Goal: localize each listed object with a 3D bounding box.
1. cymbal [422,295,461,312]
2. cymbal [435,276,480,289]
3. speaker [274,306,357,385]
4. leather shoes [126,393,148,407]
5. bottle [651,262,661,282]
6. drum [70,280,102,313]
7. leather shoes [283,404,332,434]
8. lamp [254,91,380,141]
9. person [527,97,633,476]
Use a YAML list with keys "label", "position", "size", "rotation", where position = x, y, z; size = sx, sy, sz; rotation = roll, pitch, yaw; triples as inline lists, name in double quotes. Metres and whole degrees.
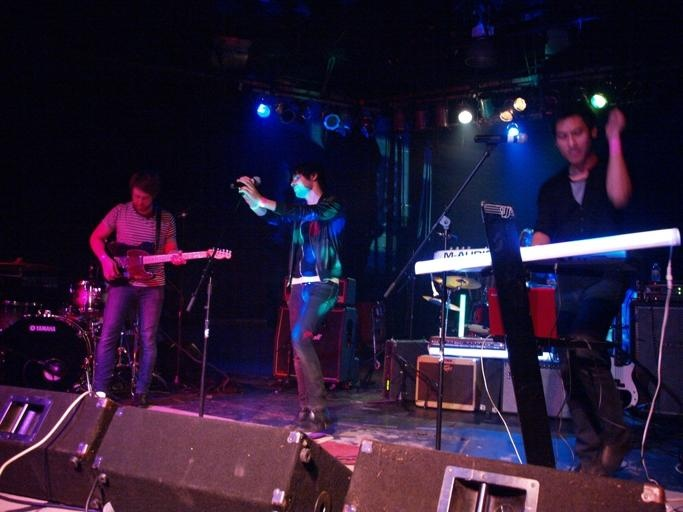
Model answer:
- label: "cymbal"
  position: [1.258, 0.600, 7.509]
  size: [0.373, 0.093, 0.393]
  rotation: [22, -8, 36]
- label: "cymbal"
  position: [1.392, 0.329, 6.903]
  size: [0.399, 0.097, 0.391]
  rotation: [20, -21, -38]
- label: "speaker"
  position: [-0.309, 1.089, 7.348]
  size: [0.820, 0.908, 0.611]
  rotation: [2, -3, 17]
- label: "leather shoes"
  position: [-1.881, 1.342, 5.537]
  size: [0.130, 0.154, 0.358]
  rotation: [9, -16, -29]
- label: "bottle"
  position: [3.436, 0.174, 6.560]
  size: [0.091, 0.200, 0.377]
  rotation: [1, -5, 28]
- label: "drum"
  position: [-2.745, 0.454, 6.419]
  size: [0.322, 0.331, 0.314]
  rotation: [-5, 0, -35]
- label: "leather shoes"
  position: [-0.233, 1.281, 4.935]
  size: [0.262, 0.263, 0.587]
  rotation: [0, -8, 26]
- label: "lamp"
  position: [-0.353, -2.006, 8.821]
  size: [1.954, 0.407, 1.062]
  rotation: [5, -5, -19]
- label: "person"
  position: [1.524, 0.223, 3.711]
  size: [0.603, 2.345, 0.921]
  rotation: [3, -3, 1]
